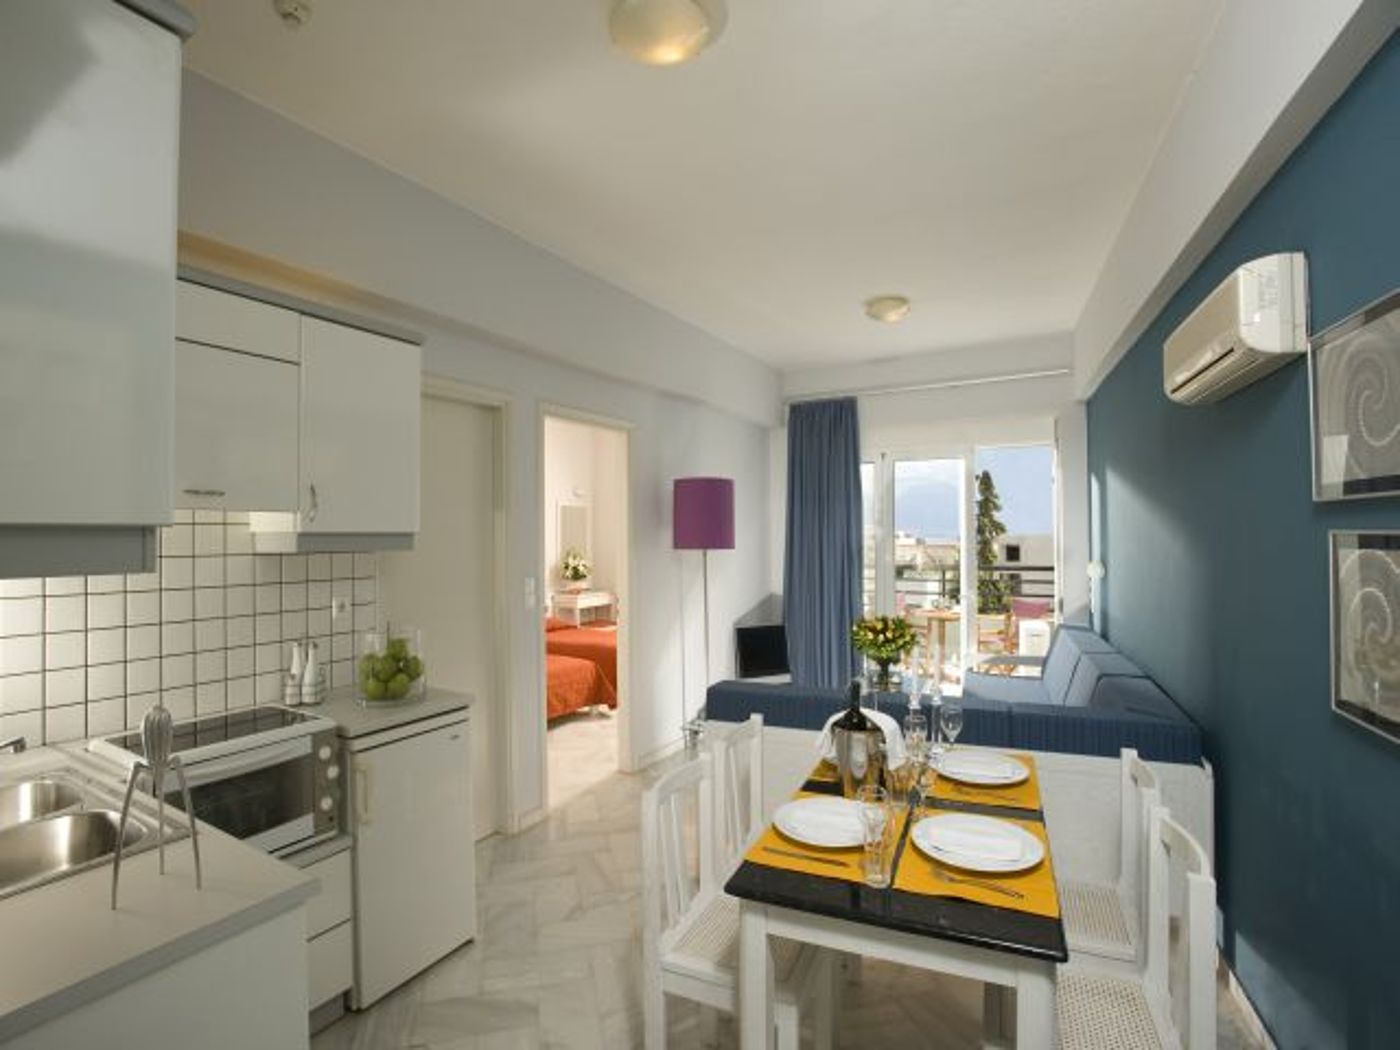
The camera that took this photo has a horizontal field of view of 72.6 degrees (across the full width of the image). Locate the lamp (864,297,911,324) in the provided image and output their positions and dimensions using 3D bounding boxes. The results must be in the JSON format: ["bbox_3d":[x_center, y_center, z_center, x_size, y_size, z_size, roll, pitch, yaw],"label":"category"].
[{"bbox_3d":[1.098,-1.273,5.590,0.261,0.130,0.286,0,12,7],"label":"lamp"}]

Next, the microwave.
[{"bbox_3d":[-1.443,0.883,3.288,0.595,0.421,0.425,-13,5,-5],"label":"microwave"}]

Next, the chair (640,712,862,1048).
[{"bbox_3d":[0.182,1.158,3.049,0.400,1.028,1.022,-1,-1,12],"label":"chair"}]

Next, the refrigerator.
[{"bbox_3d":[-1.150,1.159,3.607,0.418,0.982,0.552,5,9,38],"label":"refrigerator"}]

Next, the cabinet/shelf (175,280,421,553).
[{"bbox_3d":[-1.428,-0.349,3.318,0.347,0.878,0.942,-1,-2,28],"label":"cabinet/shelf"}]

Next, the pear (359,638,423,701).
[{"bbox_3d":[-1.151,0.524,3.552,0.204,0.227,0.221,2,-5,-7],"label":"pear"}]

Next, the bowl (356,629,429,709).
[{"bbox_3d":[-1.179,0.527,3.537,0.231,0.282,0.246,-2,-2,0],"label":"bowl"}]

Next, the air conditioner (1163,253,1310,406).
[{"bbox_3d":[1.766,-0.627,3.130,0.225,0.488,0.620,1,12,11],"label":"air conditioner"}]

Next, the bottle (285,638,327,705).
[{"bbox_3d":[-1.492,0.547,3.563,0.142,0.207,0.212,-6,12,-23],"label":"bottle"}]
